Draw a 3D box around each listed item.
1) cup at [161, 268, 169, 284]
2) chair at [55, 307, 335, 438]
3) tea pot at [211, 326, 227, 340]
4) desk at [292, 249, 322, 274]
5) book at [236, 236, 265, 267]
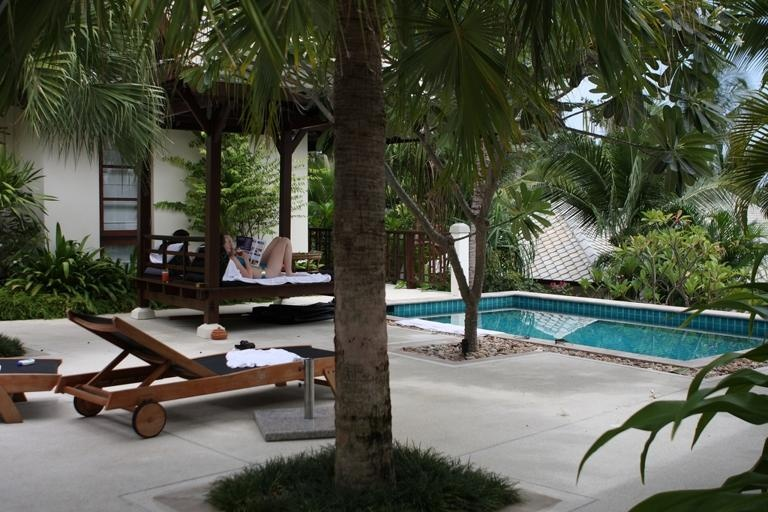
[{"bbox_3d":[-4.094,0.379,10.611,0.146,0.259,0.431,-1,4,-21],"label":"cup"},{"bbox_3d":[-1.900,1.206,5.896,2.480,1.055,1.272,-3,5,-36],"label":"chair"},{"bbox_3d":[-2.708,1.302,9.336,0.187,0.171,0.198,0,-4,0],"label":"tea pot"},{"bbox_3d":[-1.811,0.148,12.814,0.575,0.414,0.605,-2,2,13],"label":"desk"},{"bbox_3d":[-2.526,-0.107,10.900,0.521,0.549,0.134,4,-22,3],"label":"book"}]
